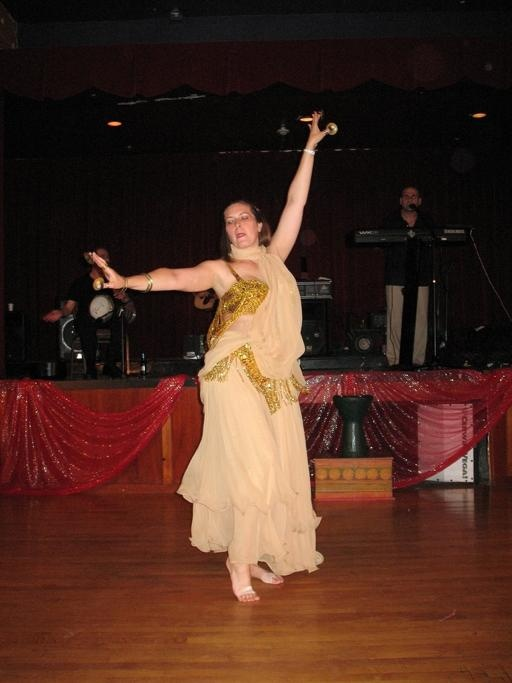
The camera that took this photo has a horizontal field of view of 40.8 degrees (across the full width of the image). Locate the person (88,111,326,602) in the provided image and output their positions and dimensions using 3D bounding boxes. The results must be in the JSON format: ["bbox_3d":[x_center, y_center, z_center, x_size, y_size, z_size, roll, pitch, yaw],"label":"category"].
[{"bbox_3d":[-0.061,-0.022,2.700,0.765,1.932,0.473,-1,-1,-8],"label":"person"}]

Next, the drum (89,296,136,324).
[{"bbox_3d":[-1.227,-0.272,5.635,0.204,0.134,0.260,5,-12,-11],"label":"drum"}]

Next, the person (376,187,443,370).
[{"bbox_3d":[1.315,-0.571,5.956,0.403,1.554,0.781,-1,-1,10],"label":"person"}]

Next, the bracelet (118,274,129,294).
[{"bbox_3d":[-0.481,-0.209,2.491,0.046,0.047,0.026,1,-26,-21],"label":"bracelet"}]
